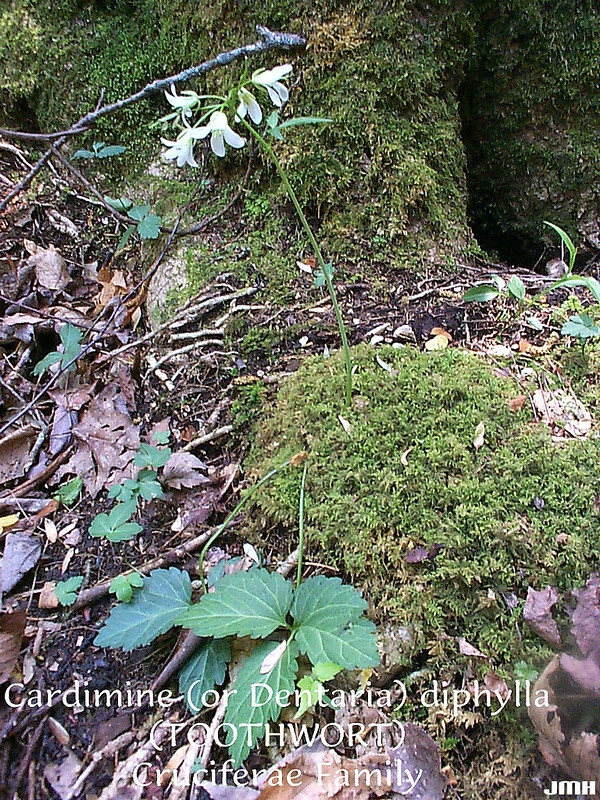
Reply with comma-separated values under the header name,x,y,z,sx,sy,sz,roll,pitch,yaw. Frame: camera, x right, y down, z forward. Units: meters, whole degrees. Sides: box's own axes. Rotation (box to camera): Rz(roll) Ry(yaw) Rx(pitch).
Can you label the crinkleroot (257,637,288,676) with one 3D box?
name,x,y,z,sx,sy,sz,roll,pitch,yaw
crinkleroot,-0.089,0.843,2.213,0.037,0.023,0.123,14,33,17
